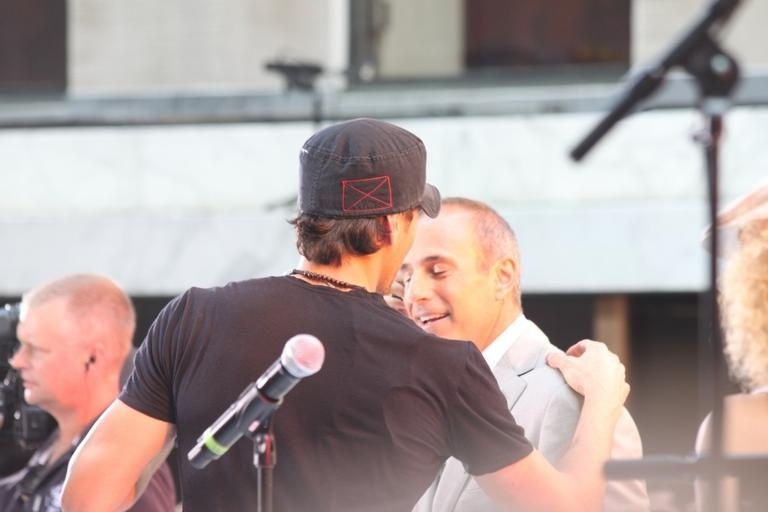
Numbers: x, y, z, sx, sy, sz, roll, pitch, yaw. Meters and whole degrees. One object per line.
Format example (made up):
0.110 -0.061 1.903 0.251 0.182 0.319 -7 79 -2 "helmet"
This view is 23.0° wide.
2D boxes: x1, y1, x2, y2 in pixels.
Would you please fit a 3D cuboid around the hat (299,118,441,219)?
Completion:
-0.049 -0.274 5.640 0.356 0.202 0.262 -10 14 -44 "hat"

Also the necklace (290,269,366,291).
-0.173 0.070 5.582 0.142 0.020 0.017 17 -25 5 "necklace"

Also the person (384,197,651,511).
0.453 0.325 5.965 0.506 0.947 0.877 2 -10 -29 "person"
